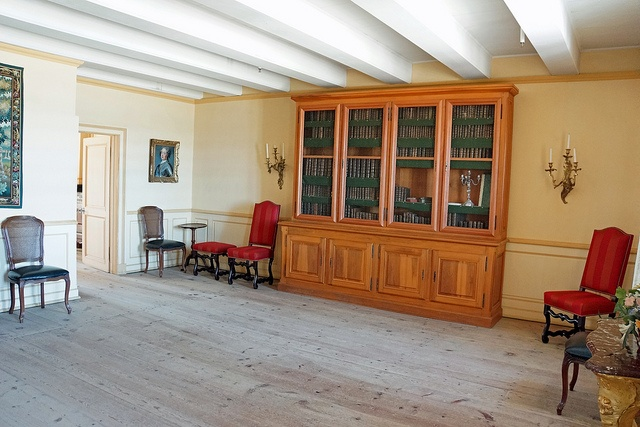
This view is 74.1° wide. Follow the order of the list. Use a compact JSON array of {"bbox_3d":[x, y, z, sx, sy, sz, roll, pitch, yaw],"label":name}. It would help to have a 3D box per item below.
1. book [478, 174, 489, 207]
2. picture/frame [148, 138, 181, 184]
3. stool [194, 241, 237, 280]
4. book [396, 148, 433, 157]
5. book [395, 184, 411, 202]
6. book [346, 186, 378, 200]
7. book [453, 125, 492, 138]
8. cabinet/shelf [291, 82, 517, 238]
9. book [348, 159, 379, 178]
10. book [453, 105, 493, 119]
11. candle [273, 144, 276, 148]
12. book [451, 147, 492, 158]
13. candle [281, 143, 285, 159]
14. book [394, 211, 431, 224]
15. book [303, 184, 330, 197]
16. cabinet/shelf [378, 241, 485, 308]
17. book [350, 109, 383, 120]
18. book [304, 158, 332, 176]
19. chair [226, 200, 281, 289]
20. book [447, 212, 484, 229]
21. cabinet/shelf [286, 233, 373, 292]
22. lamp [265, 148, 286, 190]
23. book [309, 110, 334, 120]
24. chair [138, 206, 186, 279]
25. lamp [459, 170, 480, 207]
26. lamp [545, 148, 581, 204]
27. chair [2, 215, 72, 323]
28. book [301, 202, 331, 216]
[{"bbox_3d":[2.464,-0.341,6.391,0.100,0.370,0.401,5,7,21],"label":"book"},{"bbox_3d":[-3.240,-1.071,8.740,0.161,0.889,0.699,10,15,31],"label":"picture/frame"},{"bbox_3d":[-2.084,0.818,8.602,1.028,0.689,0.746,2,1,42],"label":"stool"},{"bbox_3d":[1.503,-0.966,6.754,0.572,0.160,0.056,6,13,19],"label":"book"},{"bbox_3d":[1.316,-0.318,6.868,0.234,0.271,0.302,2,3,-20],"label":"book"},{"bbox_3d":[0.711,-0.325,7.084,0.349,0.229,0.346,-4,4,15],"label":"book"},{"bbox_3d":[2.289,-1.236,6.421,0.463,0.217,0.106,5,9,26],"label":"book"},{"bbox_3d":[1.458,-0.841,6.786,2.953,1.787,0.559,3,3,23],"label":"cabinet/shelf"},{"bbox_3d":[0.713,-0.752,7.091,0.464,0.400,0.344,0,-2,44],"label":"book"},{"bbox_3d":[2.304,-1.529,6.397,0.414,0.254,0.096,5,4,15],"label":"book"},{"bbox_3d":[-0.888,-1.311,8.266,0.093,0.061,0.031,10,15,34],"label":"candle"},{"bbox_3d":[2.276,-0.914,6.424,0.584,0.163,0.036,7,14,23],"label":"book"},{"bbox_3d":[-0.715,-1.195,8.180,0.040,0.285,0.100,-1,13,-12],"label":"candle"},{"bbox_3d":[1.461,0.085,6.775,0.577,0.169,0.080,6,13,20],"label":"book"},{"bbox_3d":[-0.095,-0.380,7.467,0.341,0.291,0.244,1,-3,23],"label":"book"},{"bbox_3d":[1.767,0.948,6.513,1.205,0.625,0.375,3,2,26],"label":"cabinet/shelf"},{"bbox_3d":[0.777,-1.648,7.032,0.470,0.218,0.118,6,2,16],"label":"book"},{"bbox_3d":[-0.035,-0.798,7.483,0.340,0.391,0.469,-5,-9,28],"label":"book"},{"bbox_3d":[-1.261,0.586,8.028,0.983,1.541,0.946,1,12,-5],"label":"chair"},{"bbox_3d":[2.213,0.149,6.489,0.385,0.332,0.270,0,-6,31],"label":"book"},{"bbox_3d":[0.215,0.847,7.214,1.161,0.540,0.318,4,0,28],"label":"cabinet/shelf"},{"bbox_3d":[-0.899,-0.902,8.278,0.480,0.854,0.178,11,16,36],"label":"lamp"},{"bbox_3d":[0.006,-1.699,7.376,0.392,0.180,0.079,3,0,20],"label":"book"},{"bbox_3d":[-3.149,0.555,8.520,0.760,1.347,0.808,-6,15,-33],"label":"chair"},{"bbox_3d":[2.264,-0.373,6.503,0.293,0.547,0.128,7,14,21],"label":"lamp"},{"bbox_3d":[3.622,-0.560,6.370,0.475,0.833,0.177,9,15,29],"label":"lamp"},{"bbox_3d":[-4.157,0.782,6.198,0.757,1.444,0.713,-8,16,-37],"label":"chair"},{"bbox_3d":[-0.071,-0.072,7.446,0.385,0.247,0.352,0,2,-22],"label":"book"}]
